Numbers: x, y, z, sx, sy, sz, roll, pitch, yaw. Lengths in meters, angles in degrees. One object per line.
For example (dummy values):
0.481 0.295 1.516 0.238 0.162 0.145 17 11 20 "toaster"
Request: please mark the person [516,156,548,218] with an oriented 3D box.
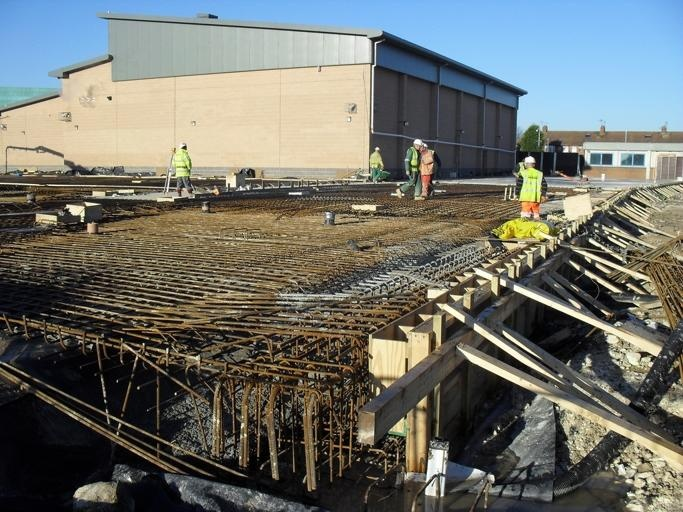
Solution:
3.764 -1.361 11.026 0.460 1.233 0.738 3 8 13 "person"
